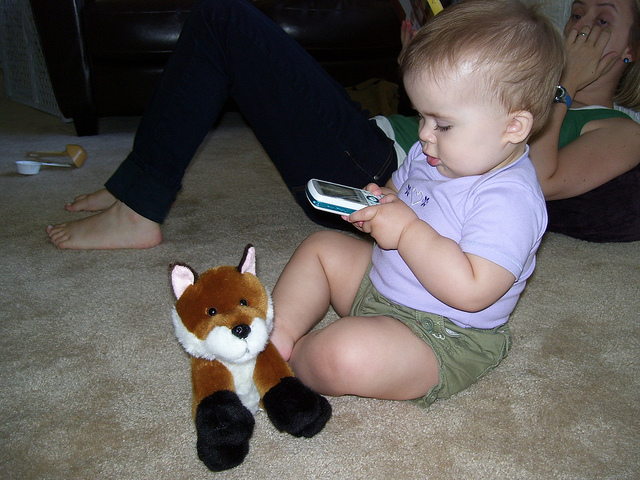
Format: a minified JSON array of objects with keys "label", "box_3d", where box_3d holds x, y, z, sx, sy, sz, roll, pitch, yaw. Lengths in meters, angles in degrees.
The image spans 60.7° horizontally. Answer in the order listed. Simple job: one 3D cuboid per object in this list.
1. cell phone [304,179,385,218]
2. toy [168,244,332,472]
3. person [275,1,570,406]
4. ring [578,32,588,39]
[{"label":"cell phone","box_3d":[0.050,-0.092,1.157,0.146,0.030,0.080,9,28,-23]},{"label":"toy","box_3d":[-0.129,0.241,1.041,0.277,0.373,0.237,-17,24,-32]},{"label":"person","box_3d":[0.200,-0.227,1.403,0.811,0.977,0.651,-4,29,-9]},{"label":"ring","box_3d":[0.751,-0.590,1.567,0.017,0.007,0.034,2,48,-9]}]
